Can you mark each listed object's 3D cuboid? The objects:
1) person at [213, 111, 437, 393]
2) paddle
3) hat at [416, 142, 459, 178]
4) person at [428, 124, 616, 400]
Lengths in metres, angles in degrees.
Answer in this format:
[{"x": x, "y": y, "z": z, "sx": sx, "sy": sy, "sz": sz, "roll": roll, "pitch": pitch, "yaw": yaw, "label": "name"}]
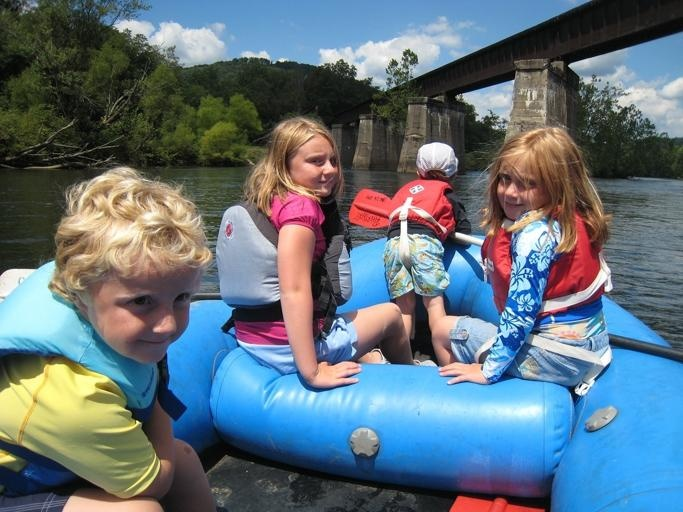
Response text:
[{"x": -0.211, "y": -0.151, "z": 2.794, "sx": 0.989, "sy": 1.393, "sz": 0.870, "roll": -11, "pitch": 18, "yaw": -36, "label": "person"}, {"x": 0.373, "y": -0.250, "z": 3.686, "sx": 1.083, "sy": 0.341, "sz": 0.089, "roll": 20, "pitch": 3, "yaw": 40, "label": "paddle"}, {"x": 0.595, "y": -0.617, "z": 3.565, "sx": 0.181, "sy": 0.137, "sz": 0.271, "roll": 3, "pitch": 23, "yaw": 15, "label": "hat"}, {"x": 0.865, "y": -0.057, "z": 2.838, "sx": 0.918, "sy": 1.591, "sz": 0.981, "roll": 3, "pitch": 4, "yaw": 31, "label": "person"}]
